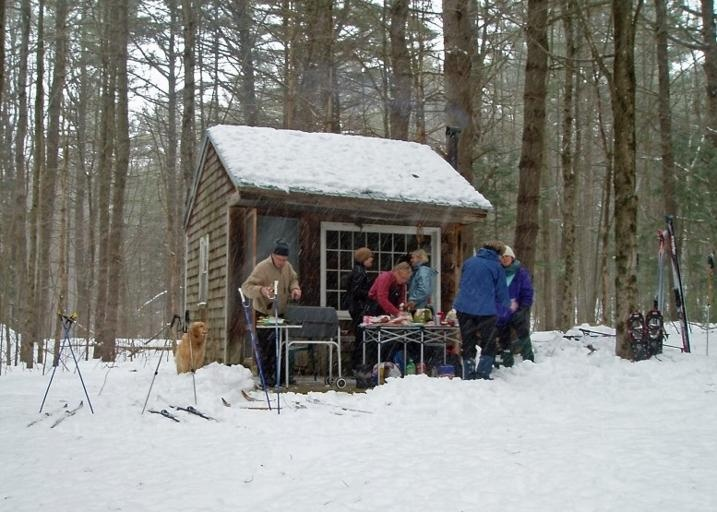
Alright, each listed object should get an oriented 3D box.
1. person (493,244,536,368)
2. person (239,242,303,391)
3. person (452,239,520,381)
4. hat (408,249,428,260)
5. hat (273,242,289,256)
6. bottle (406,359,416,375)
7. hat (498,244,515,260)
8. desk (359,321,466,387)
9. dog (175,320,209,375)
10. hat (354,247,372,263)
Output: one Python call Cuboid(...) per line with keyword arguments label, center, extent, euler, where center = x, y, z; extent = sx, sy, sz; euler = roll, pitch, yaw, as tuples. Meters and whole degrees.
Cuboid(label="person", center=(3.644, 1.274, 22.501), extent=(0.957, 3.165, 0.901), euler=(-4, 17, 11))
Cuboid(label="person", center=(-2.035, 1.339, 21.972), extent=(1.241, 3.349, 1.142), euler=(0, -6, -9))
Cuboid(label="person", center=(2.850, 1.234, 21.815), extent=(1.206, 3.198, 0.505), euler=(-1, -6, 7))
Cuboid(label="hat", center=(1.472, -0.024, 22.726), extent=(0.384, 0.366, 0.425), euler=(1, -7, -14))
Cuboid(label="hat", center=(-1.768, -0.190, 21.842), extent=(0.282, 0.267, 0.308), euler=(-1, 4, -19))
Cuboid(label="bottle", center=(1.263, 2.615, 22.234), extent=(0.227, 0.332, 0.541), euler=(-2, -7, 9))
Cuboid(label="hat", center=(3.592, -0.080, 22.420), extent=(0.265, 0.340, 0.397), euler=(0, 13, 13))
Cuboid(label="desk", center=(1.239, 2.257, 22.422), extent=(2.488, 1.588, 1.773), euler=(-1, -6, -4))
Cuboid(label="dog", center=(-3.947, 2.176, 22.385), extent=(0.606, 1.197, 1.064), euler=(2, -7, -28))
Cuboid(label="hat", center=(0.128, -0.046, 22.643), extent=(0.354, 0.352, 0.296), euler=(-2, 17, 7))
